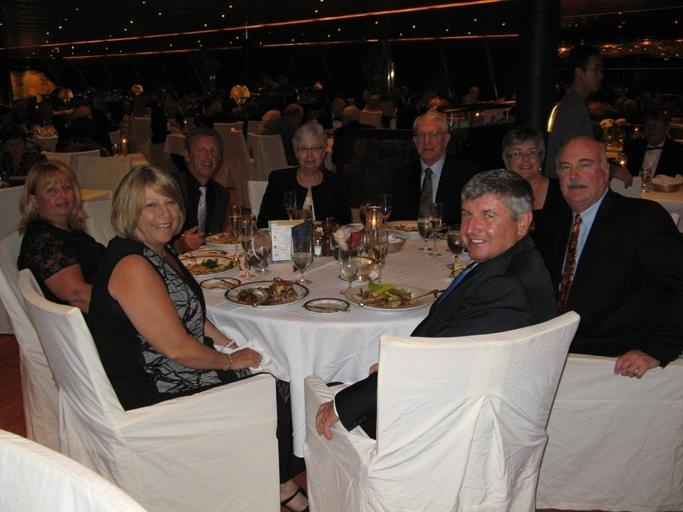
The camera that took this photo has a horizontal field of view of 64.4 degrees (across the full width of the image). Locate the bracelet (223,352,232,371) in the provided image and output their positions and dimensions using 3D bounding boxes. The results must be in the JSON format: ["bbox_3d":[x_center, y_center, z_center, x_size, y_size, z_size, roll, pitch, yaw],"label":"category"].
[{"bbox_3d":[-0.458,0.429,2.221,0.017,0.056,0.060,-20,7,-1],"label":"bracelet"}]

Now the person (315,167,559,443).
[{"bbox_3d":[0.368,0.077,2.390,1.010,1.230,0.898,9,10,20],"label":"person"}]

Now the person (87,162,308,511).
[{"bbox_3d":[-0.562,0.413,2.178,0.610,1.568,0.542,-5,12,8],"label":"person"}]

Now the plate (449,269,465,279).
[{"bbox_3d":[0.541,0.078,2.567,0.059,0.015,0.055,-12,10,-13],"label":"plate"}]
